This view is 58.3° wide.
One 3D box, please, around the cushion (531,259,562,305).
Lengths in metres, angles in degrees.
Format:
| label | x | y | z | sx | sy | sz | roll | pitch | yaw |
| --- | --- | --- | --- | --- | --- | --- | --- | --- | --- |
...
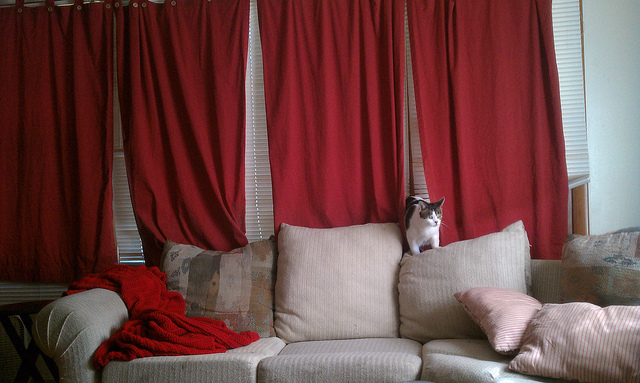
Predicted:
| label | x | y | z | sx | sy | sz | roll | pitch | yaw |
| --- | --- | --- | --- | --- | --- | --- | --- | --- | --- |
| cushion | 1.784 | 0.709 | 4.510 | 0.291 | 0.301 | 0.122 | -9 | -16 | 30 |

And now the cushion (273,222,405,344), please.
| label | x | y | z | sx | sy | sz | roll | pitch | yaw |
| --- | --- | --- | --- | --- | --- | --- | --- | --- | --- |
| cushion | 0.195 | 0.757 | 4.573 | 0.974 | 0.934 | 0.296 | 1 | -9 | 5 |

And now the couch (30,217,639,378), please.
| label | x | y | z | sx | sy | sz | roll | pitch | yaw |
| --- | --- | --- | --- | --- | --- | --- | --- | --- | --- |
| couch | 0.082 | 0.819 | 4.418 | 4.073 | 1.046 | 1.118 | -4 | 4 | 5 |

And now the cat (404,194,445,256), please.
| label | x | y | z | sx | sy | sz | roll | pitch | yaw |
| --- | --- | --- | --- | --- | --- | --- | --- | --- | --- |
| cat | 0.871 | 0.282 | 4.979 | 0.259 | 0.530 | 0.850 | -3 | 7 | -4 |

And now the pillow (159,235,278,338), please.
| label | x | y | z | sx | sy | sz | roll | pitch | yaw |
| --- | --- | --- | --- | --- | --- | --- | --- | --- | --- |
| pillow | -0.903 | 0.861 | 4.896 | 1.049 | 0.969 | 0.390 | 1 | -35 | -7 |

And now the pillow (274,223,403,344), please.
| label | x | y | z | sx | sy | sz | roll | pitch | yaw |
| --- | --- | --- | --- | --- | --- | --- | --- | --- | --- |
| pillow | 0.159 | 0.780 | 4.718 | 0.967 | 0.927 | 0.292 | 1 | -8 | 6 |

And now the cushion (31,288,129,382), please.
| label | x | y | z | sx | sy | sz | roll | pitch | yaw |
| --- | --- | --- | --- | --- | --- | --- | --- | --- | --- |
| cushion | -1.794 | 1.029 | 4.629 | 0.543 | 0.755 | 0.814 | -9 | -1 | 11 |

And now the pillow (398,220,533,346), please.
| label | x | y | z | sx | sy | sz | roll | pitch | yaw |
| --- | --- | --- | --- | --- | --- | --- | --- | --- | --- |
| pillow | 1.159 | 0.787 | 4.651 | 1.130 | 0.968 | 0.443 | -12 | -23 | 27 |

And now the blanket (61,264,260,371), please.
| label | x | y | z | sx | sy | sz | roll | pitch | yaw |
| --- | --- | --- | --- | --- | --- | --- | --- | --- | --- |
| blanket | -1.251 | 0.983 | 4.495 | 0.934 | 0.956 | 0.174 | -1 | -42 | -23 |

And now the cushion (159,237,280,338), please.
| label | x | y | z | sx | sy | sz | roll | pitch | yaw |
| --- | --- | --- | --- | --- | --- | --- | --- | --- | --- |
| cushion | -0.890 | 0.864 | 4.899 | 0.983 | 0.908 | 0.398 | 3 | -26 | -8 |
